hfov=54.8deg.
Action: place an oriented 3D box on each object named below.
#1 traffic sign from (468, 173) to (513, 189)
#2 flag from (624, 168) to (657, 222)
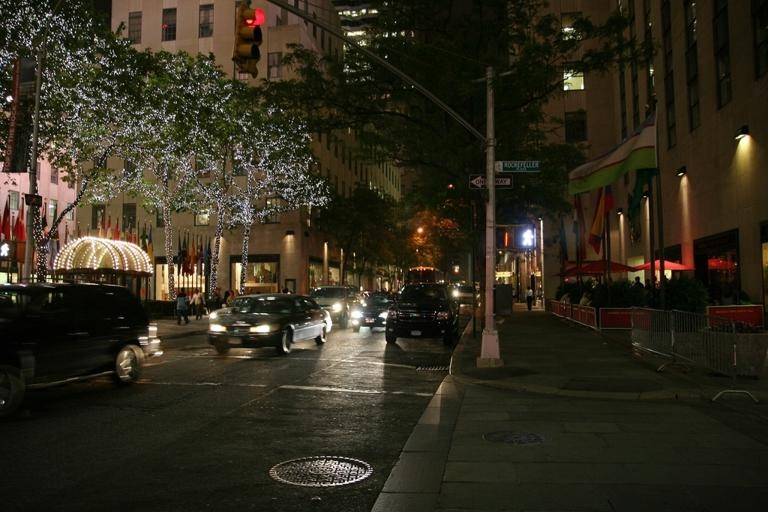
[{"bbox_3d":[3.250,-2.266,22.627,1.302,0.435,0.427,-1,-5,-2],"label":"traffic sign"},{"bbox_3d":[8.853,-2.033,25.437,0.872,0.262,2.501,-4,-34,15],"label":"flag"}]
